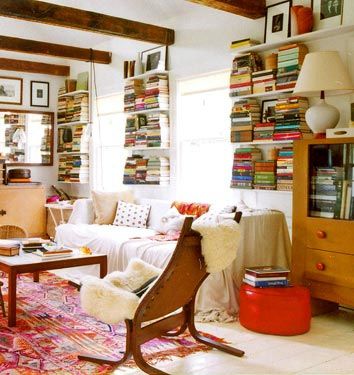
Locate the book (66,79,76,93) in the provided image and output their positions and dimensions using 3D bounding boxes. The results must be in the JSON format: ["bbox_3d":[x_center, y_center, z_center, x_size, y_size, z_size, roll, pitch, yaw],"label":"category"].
[{"bbox_3d":[-2.012,-1.907,6.278,0.213,0.246,0.084,0,-6,13],"label":"book"}]

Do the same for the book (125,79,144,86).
[{"bbox_3d":[-0.597,-1.508,4.764,0.159,0.034,0.159,-5,7,-43],"label":"book"}]

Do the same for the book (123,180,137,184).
[{"bbox_3d":[-0.678,-0.081,4.807,0.048,0.069,0.309,7,-7,-41],"label":"book"}]

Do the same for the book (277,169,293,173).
[{"bbox_3d":[0.984,-0.153,3.070,0.013,0.050,0.174,6,-7,-33],"label":"book"}]

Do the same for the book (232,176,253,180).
[{"bbox_3d":[0.675,-0.100,3.442,0.248,0.051,0.023,-3,-8,43],"label":"book"}]

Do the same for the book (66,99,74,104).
[{"bbox_3d":[-2.021,-1.630,6.300,0.075,0.088,0.146,2,-1,-43],"label":"book"}]

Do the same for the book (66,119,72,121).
[{"bbox_3d":[-2.034,-1.271,6.277,0.066,0.015,0.070,-2,3,-41],"label":"book"}]

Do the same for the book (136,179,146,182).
[{"bbox_3d":[-0.505,-0.104,4.640,0.021,0.039,0.182,7,-8,-43],"label":"book"}]

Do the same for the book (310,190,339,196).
[{"bbox_3d":[1.088,0.042,2.465,0.009,0.046,0.233,6,-7,-33],"label":"book"}]

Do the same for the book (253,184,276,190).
[{"bbox_3d":[0.851,-0.001,3.253,0.036,0.053,0.254,6,-7,-37],"label":"book"}]

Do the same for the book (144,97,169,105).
[{"bbox_3d":[-0.264,-1.166,4.463,0.161,0.034,0.157,1,5,37],"label":"book"}]

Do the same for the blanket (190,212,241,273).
[{"bbox_3d":[0.155,0.282,1.585,0.304,0.262,0.143,7,-7,-43],"label":"blanket"}]

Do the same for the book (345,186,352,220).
[{"bbox_3d":[1.183,0.104,2.304,0.015,0.229,0.057,4,-6,-19],"label":"book"}]

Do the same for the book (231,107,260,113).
[{"bbox_3d":[0.696,-0.793,3.413,0.127,0.026,0.127,-4,5,-45],"label":"book"}]

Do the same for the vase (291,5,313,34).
[{"bbox_3d":[1.117,-1.512,2.989,0.171,0.332,0.133,-2,-7,31],"label":"vase"}]

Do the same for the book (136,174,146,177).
[{"bbox_3d":[-0.507,-0.164,4.642,0.186,0.039,0.012,-3,-7,38],"label":"book"}]

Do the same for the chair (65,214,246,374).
[{"bbox_3d":[0.002,0.598,1.976,1.083,0.928,0.684,-4,-6,41],"label":"chair"}]

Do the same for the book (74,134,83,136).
[{"bbox_3d":[-1.813,-0.966,6.145,0.218,0.028,0.016,-2,-1,31],"label":"book"}]

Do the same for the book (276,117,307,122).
[{"bbox_3d":[1.041,-0.614,3.008,0.118,0.025,0.119,-4,5,-44],"label":"book"}]

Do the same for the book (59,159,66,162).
[{"bbox_3d":[-2.248,-0.525,6.517,0.155,0.054,0.013,-2,-7,30],"label":"book"}]

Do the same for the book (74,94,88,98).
[{"bbox_3d":[-1.740,-1.663,6.039,0.136,0.029,0.126,1,3,23],"label":"book"}]

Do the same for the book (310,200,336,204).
[{"bbox_3d":[1.078,0.107,2.474,0.004,0.031,0.202,6,-7,-36],"label":"book"}]

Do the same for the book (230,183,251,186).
[{"bbox_3d":[0.652,-0.034,3.457,0.015,0.040,0.253,7,-8,-42],"label":"book"}]

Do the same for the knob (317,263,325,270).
[{"bbox_3d":[1.045,0.570,2.424,0.059,0.051,0.031,4,6,41],"label":"knob"}]

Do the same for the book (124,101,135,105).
[{"bbox_3d":[-0.681,-1.218,4.786,0.095,0.020,0.086,1,1,28],"label":"book"}]

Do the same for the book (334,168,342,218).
[{"bbox_3d":[1.146,0.039,2.363,0.025,0.349,0.079,3,-6,-8],"label":"book"}]

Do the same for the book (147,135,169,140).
[{"bbox_3d":[-0.276,-0.667,4.479,0.304,0.084,0.128,0,-6,15],"label":"book"}]

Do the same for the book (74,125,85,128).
[{"bbox_3d":[-1.815,-1.129,6.115,0.145,0.033,0.159,-3,4,-36],"label":"book"}]

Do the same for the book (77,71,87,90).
[{"bbox_3d":[-1.732,-1.942,6.088,0.053,0.434,0.443,0,2,-37],"label":"book"}]

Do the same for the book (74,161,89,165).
[{"bbox_3d":[-1.767,-0.448,6.082,0.285,0.083,0.112,0,-6,15],"label":"book"}]

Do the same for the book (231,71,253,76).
[{"bbox_3d":[0.664,-1.158,3.379,0.100,0.022,0.101,-9,7,-38],"label":"book"}]

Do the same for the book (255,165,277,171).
[{"bbox_3d":[0.864,-0.186,3.254,0.035,0.060,0.218,7,-7,-41],"label":"book"}]

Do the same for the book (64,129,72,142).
[{"bbox_3d":[-2.110,-1.007,6.438,0.230,0.199,0.052,3,-5,32],"label":"book"}]

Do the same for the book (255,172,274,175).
[{"bbox_3d":[0.849,-0.138,3.248,0.146,0.028,0.024,0,-2,36],"label":"book"}]

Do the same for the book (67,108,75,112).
[{"bbox_3d":[-1.988,-1.450,6.238,0.111,0.022,0.094,0,1,18],"label":"book"}]

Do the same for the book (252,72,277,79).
[{"bbox_3d":[0.847,-1.082,3.204,0.133,0.027,0.124,-7,9,-28],"label":"book"}]

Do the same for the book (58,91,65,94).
[{"bbox_3d":[-2.238,-1.840,6.465,0.246,0.053,0.020,-4,-8,44],"label":"book"}]

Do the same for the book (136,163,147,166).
[{"bbox_3d":[-0.504,-0.322,4.682,0.202,0.049,0.017,-2,-7,35],"label":"book"}]

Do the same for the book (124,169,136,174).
[{"bbox_3d":[-0.693,-0.233,4.854,0.248,0.086,0.020,-4,-8,44],"label":"book"}]

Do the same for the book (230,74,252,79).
[{"bbox_3d":[0.655,-1.131,3.383,0.102,0.022,0.099,-3,4,-32],"label":"book"}]

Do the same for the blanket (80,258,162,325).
[{"bbox_3d":[-0.272,0.504,1.678,0.371,0.224,0.600,2,-5,-1],"label":"blanket"}]

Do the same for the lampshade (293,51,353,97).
[{"bbox_3d":[1.095,-0.822,2.653,0.459,0.359,0.424,-2,7,-2],"label":"lampshade"}]

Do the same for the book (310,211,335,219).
[{"bbox_3d":[1.072,0.202,2.464,0.041,0.056,0.199,4,-6,-22],"label":"book"}]

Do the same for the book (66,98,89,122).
[{"bbox_3d":[-1.769,-1.437,6.159,0.591,0.486,0.183,10,15,29],"label":"book"}]

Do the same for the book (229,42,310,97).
[{"bbox_3d":[0.875,-1.132,3.271,0.214,0.548,0.773,7,-8,-43],"label":"book"}]

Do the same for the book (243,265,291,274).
[{"bbox_3d":[0.622,0.609,2.521,0.281,0.031,0.384,3,-5,-12],"label":"book"}]

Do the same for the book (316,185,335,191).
[{"bbox_3d":[1.092,0.001,2.458,0.014,0.043,0.148,5,-6,-30],"label":"book"}]

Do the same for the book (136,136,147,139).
[{"bbox_3d":[-0.501,-0.702,4.668,0.088,0.028,0.062,4,12,26],"label":"book"}]

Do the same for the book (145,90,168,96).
[{"bbox_3d":[-0.259,-1.265,4.457,0.132,0.027,0.131,-4,3,-41],"label":"book"}]

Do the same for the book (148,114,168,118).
[{"bbox_3d":[-0.222,-0.963,4.476,0.128,0.027,0.122,1,4,29],"label":"book"}]

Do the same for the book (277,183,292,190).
[{"bbox_3d":[0.990,-0.012,3.080,0.019,0.068,0.167,6,-7,-34],"label":"book"}]

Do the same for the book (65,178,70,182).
[{"bbox_3d":[-2.083,-0.142,6.338,0.079,0.063,0.017,4,-12,3],"label":"book"}]
